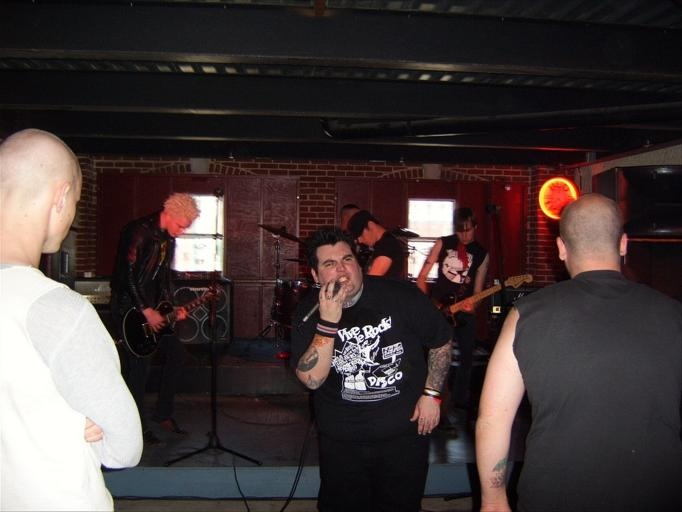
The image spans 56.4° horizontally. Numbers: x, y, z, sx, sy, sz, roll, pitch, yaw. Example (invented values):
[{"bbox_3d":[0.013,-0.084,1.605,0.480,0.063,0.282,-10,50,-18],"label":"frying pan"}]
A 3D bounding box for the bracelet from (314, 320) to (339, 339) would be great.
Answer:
[{"bbox_3d":[-0.075,0.373,3.277,0.101,0.067,0.098,8,-5,-23],"label":"bracelet"}]

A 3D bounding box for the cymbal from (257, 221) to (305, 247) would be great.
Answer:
[{"bbox_3d":[-0.668,-0.259,7.382,0.545,0.123,0.531,17,-3,6],"label":"cymbal"}]

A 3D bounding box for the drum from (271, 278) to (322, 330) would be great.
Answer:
[{"bbox_3d":[-0.557,0.474,7.014,0.661,0.639,0.659,2,7,1],"label":"drum"}]

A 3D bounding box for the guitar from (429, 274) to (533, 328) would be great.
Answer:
[{"bbox_3d":[1.112,0.345,5.120,0.770,0.246,0.104,-28,-33,-12],"label":"guitar"}]
